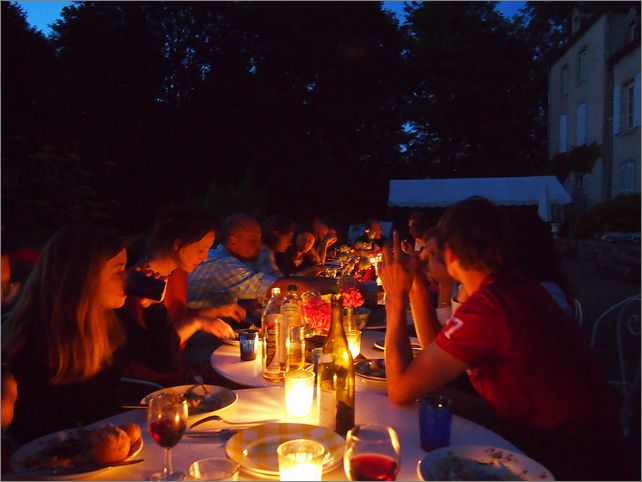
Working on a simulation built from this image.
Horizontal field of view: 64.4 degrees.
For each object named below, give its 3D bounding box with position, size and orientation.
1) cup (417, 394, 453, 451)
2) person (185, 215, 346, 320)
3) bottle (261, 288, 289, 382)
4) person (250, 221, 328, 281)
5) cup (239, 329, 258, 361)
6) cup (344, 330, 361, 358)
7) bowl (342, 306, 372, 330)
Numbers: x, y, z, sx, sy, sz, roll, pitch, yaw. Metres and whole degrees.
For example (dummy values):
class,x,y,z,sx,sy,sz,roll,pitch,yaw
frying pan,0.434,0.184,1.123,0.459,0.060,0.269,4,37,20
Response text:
class,x,y,z,sx,sy,sz,roll,pitch,yaw
cup,0.474,0.754,2.108,0.130,0.210,0.144,1,-5,13
person,-0.426,0.248,4.290,1.259,1.259,0.647,-6,15,-1
bottle,-0.244,0.498,2.781,0.143,0.485,0.313,2,-5,-6
person,-0.445,0.074,6.610,0.750,0.686,0.599,-2,3,35
cup,-0.413,0.599,2.991,0.120,0.158,0.136,1,-4,-2
cup,0.185,0.582,2.900,0.118,0.159,0.131,1,-5,-9
bowl,0.272,0.503,3.377,0.152,0.107,0.162,0,-5,0
